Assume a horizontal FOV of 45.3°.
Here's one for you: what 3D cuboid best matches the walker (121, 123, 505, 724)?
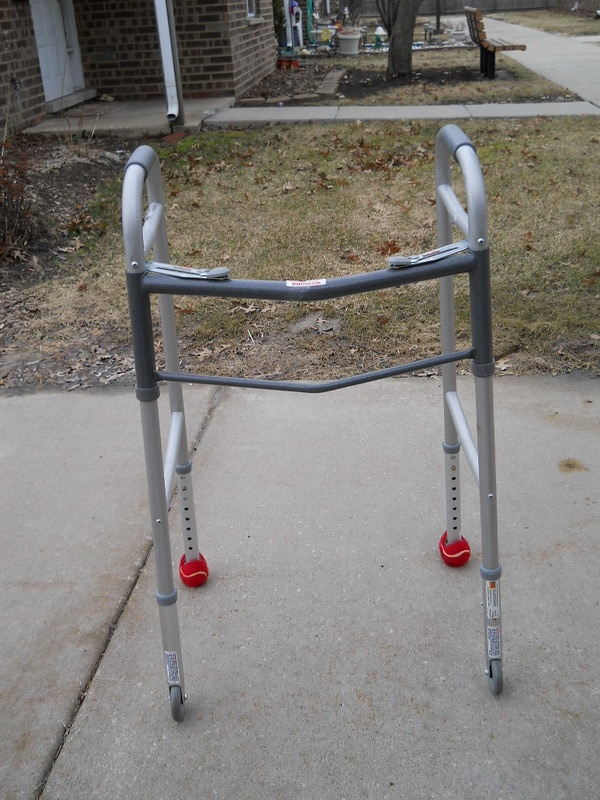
[{"bbox_3d":[0.074,0.028,1.838,0.981,1.331,0.674,-5,20,-2],"label":"walker"}]
